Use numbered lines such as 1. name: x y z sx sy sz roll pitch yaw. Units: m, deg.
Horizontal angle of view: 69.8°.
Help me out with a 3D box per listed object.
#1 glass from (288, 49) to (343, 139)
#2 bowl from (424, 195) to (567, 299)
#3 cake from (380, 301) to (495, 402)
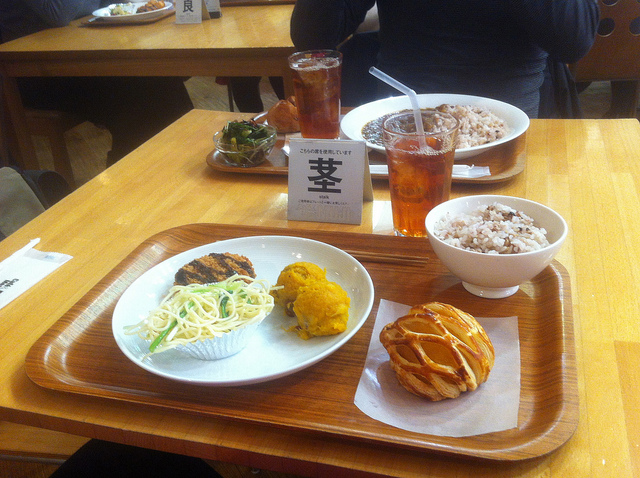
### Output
1. glass: -0.009 -0.416 1.351 0.165 0.239 0.157 -12 25 -20
2. bowl: 0.324 0.004 0.884 0.242 0.139 0.205 2 44 11
3. cake: 0.187 0.175 0.737 0.179 0.120 0.165 -6 27 21
